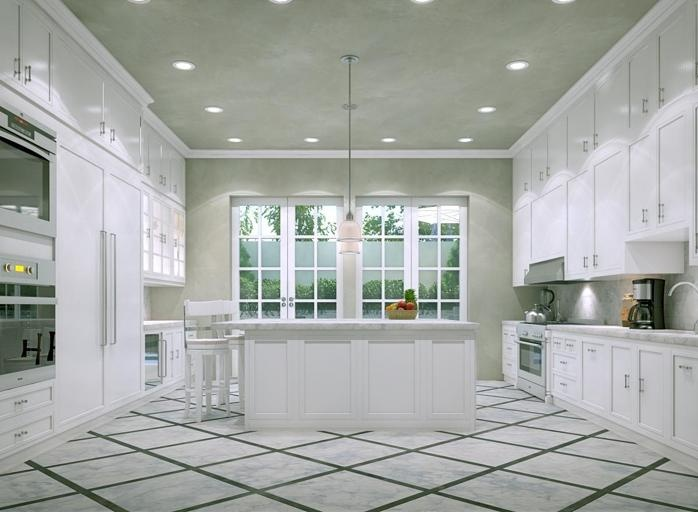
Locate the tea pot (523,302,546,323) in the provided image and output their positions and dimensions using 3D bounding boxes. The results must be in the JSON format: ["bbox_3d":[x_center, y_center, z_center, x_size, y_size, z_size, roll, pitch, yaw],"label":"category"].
[{"bbox_3d":[2.370,0.718,6.771,0.318,0.268,0.297,1,-5,0],"label":"tea pot"}]

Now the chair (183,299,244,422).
[{"bbox_3d":[-1.460,1.155,5.626,0.543,1.138,1.246,-1,-4,5],"label":"chair"}]

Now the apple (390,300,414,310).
[{"bbox_3d":[0.521,0.476,5.040,0.187,0.075,0.097,0,3,5],"label":"apple"}]
